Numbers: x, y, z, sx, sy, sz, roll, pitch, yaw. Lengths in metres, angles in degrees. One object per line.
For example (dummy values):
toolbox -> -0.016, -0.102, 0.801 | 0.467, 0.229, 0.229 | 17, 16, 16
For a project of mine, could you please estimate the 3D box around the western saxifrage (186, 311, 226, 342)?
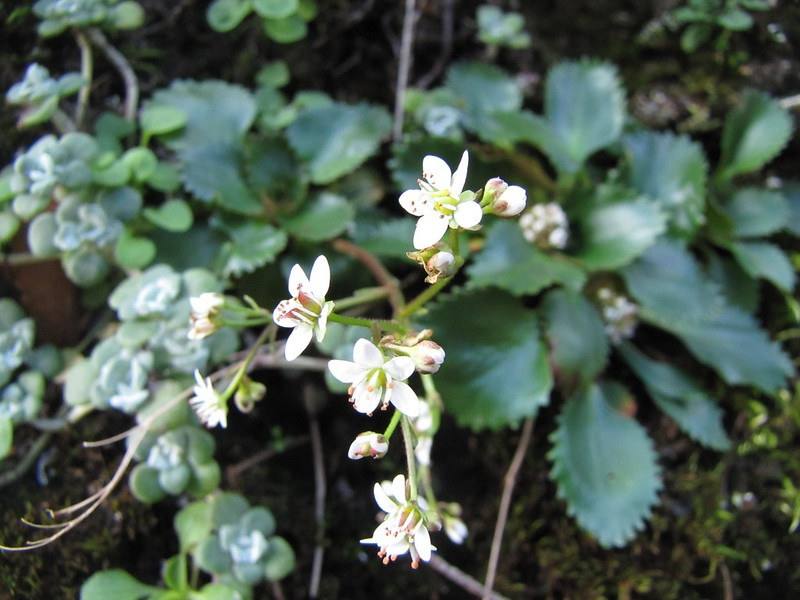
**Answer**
western saxifrage -> -0.374, 0.048, 1.587 | 0.026, 0.049, 0.060 | 7, 39, 38

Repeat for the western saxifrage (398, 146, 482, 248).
western saxifrage -> 0.069, -0.175, 1.454 | 0.131, 0.128, 0.097 | -5, 31, -10

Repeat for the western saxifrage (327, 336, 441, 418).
western saxifrage -> -0.029, 0.141, 1.419 | 0.145, 0.171, 0.125 | -25, 39, -36

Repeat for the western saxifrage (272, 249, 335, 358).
western saxifrage -> -0.168, 0.021, 1.456 | 0.068, 0.156, 0.174 | 24, 28, -20
